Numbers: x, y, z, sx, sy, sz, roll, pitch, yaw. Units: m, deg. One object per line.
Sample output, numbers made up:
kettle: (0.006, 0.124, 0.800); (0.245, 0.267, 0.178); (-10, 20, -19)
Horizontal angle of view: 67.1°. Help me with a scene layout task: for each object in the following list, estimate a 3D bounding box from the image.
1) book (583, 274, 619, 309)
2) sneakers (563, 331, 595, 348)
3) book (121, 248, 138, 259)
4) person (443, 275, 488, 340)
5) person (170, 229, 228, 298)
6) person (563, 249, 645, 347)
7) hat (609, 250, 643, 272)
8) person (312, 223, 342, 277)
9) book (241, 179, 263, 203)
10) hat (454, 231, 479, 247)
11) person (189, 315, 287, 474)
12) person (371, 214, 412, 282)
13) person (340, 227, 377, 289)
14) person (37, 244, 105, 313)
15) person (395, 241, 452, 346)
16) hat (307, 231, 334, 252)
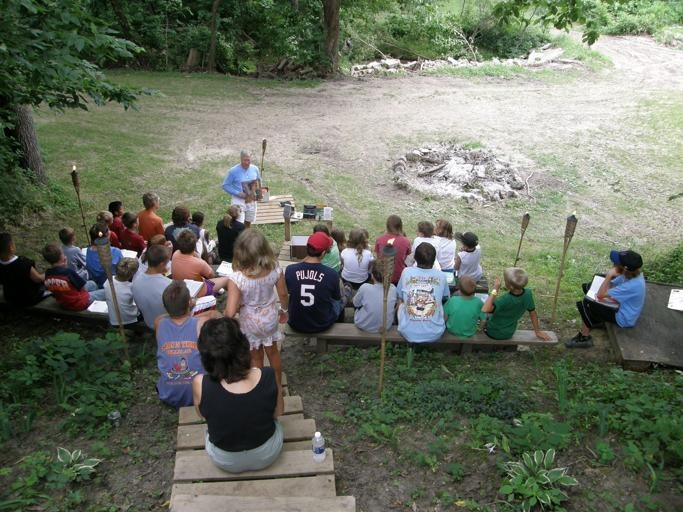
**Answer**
book: (4.036, 0.533, 8.053); (0.114, 0.436, 0.425); (16, 20, -47)
sneakers: (3.558, 1.288, 7.838); (0.523, 0.217, 0.174); (-2, 5, 6)
book: (-3.601, -0.037, 8.725); (0.279, 0.074, 0.274); (16, 22, 10)
person: (1.750, 0.689, 7.463); (0.754, 1.001, 0.785); (0, 27, 6)
person: (-2.235, 0.118, 7.974); (0.755, 0.979, 0.899); (16, 27, 15)
person: (4.058, 0.640, 7.710); (0.948, 1.467, 0.627); (5, 22, 15)
hat: (4.204, 0.058, 7.613); (0.445, 0.309, 0.284); (16, 26, 39)
person: (-0.196, -0.054, 8.522); (0.486, 0.402, 0.787); (5, 38, -9)
book: (-1.976, -1.413, 11.191); (0.064, 0.428, 0.481); (15, 27, 32)
hat: (2.181, -0.297, 8.851); (0.274, 0.286, 0.503); (0, 20, 2)
person: (-1.083, 1.459, 5.314); (0.856, 1.551, 0.538); (-3, 21, -5)
person: (0.888, -0.080, 9.120); (0.676, 1.339, 0.760); (11, 24, 20)
person: (0.240, 0.092, 9.250); (0.610, 1.338, 1.219); (5, 22, -4)
person: (-4.155, 0.332, 7.721); (0.589, 1.023, 0.351); (4, 22, 14)
person: (1.142, 0.574, 7.281); (0.700, 1.515, 0.552); (1, 21, 6)
hat: (-0.301, -0.191, 6.958); (0.301, 0.274, 0.319); (3, 20, 11)
